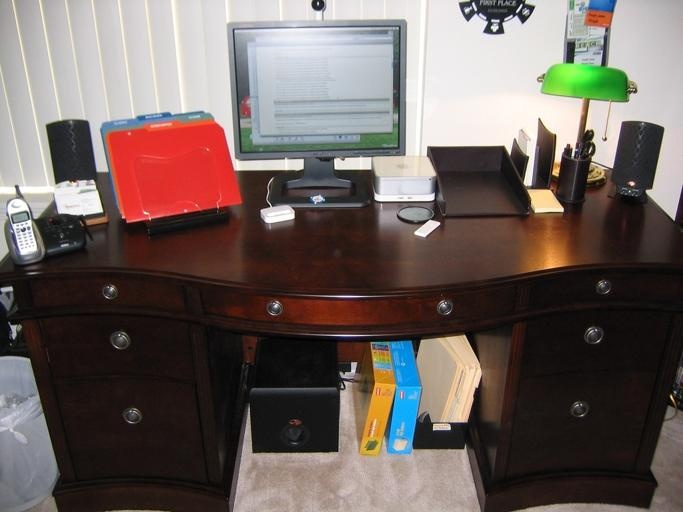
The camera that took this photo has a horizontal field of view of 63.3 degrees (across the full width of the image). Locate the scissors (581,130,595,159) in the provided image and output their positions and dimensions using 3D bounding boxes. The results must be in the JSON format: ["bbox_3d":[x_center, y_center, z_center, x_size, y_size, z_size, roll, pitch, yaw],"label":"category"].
[{"bbox_3d":[0.870,-0.396,1.946,0.020,0.090,0.061,2,16,26],"label":"scissors"}]

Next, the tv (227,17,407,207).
[{"bbox_3d":[-0.077,-0.512,1.937,0.637,0.633,0.336,0,39,0],"label":"tv"}]

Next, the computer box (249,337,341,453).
[{"bbox_3d":[-0.195,0.489,2.260,0.340,0.311,0.504,0,31,-3],"label":"computer box"}]

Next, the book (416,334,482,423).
[{"bbox_3d":[0.403,0.476,2.160,0.162,0.319,0.255,-2,25,-8],"label":"book"}]

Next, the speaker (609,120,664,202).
[{"bbox_3d":[1.028,-0.336,1.991,0.131,0.313,0.133,6,28,8],"label":"speaker"}]

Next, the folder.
[{"bbox_3d":[-0.565,-0.284,1.826,0.378,0.399,0.089,-11,8,-16],"label":"folder"}]

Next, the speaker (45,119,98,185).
[{"bbox_3d":[-0.951,-0.378,1.950,0.128,0.255,0.139,-7,31,-23],"label":"speaker"}]

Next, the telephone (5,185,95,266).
[{"bbox_3d":[-0.911,-0.105,1.684,0.207,0.193,0.165,-13,26,-22],"label":"telephone"}]
